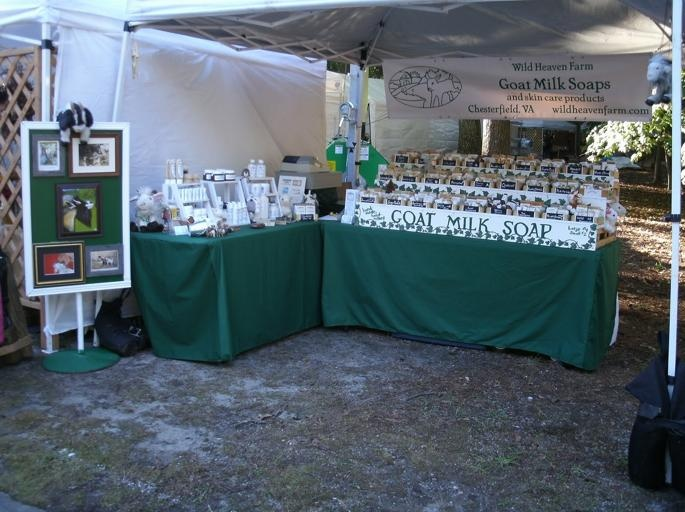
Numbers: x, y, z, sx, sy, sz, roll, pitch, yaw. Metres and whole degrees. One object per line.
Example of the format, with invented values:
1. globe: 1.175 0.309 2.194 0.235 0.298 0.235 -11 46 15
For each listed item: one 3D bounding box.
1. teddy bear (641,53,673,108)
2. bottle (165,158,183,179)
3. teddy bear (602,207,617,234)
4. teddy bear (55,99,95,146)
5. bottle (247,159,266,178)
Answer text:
1. teddy bear: 1.912 -1.063 3.015 0.143 0.304 0.325 9 16 29
2. bottle: -1.528 -0.784 4.563 0.150 0.159 0.172 -3 15 -18
3. teddy bear: 2.325 -0.295 4.357 0.096 0.219 0.361 9 16 28
4. teddy bear: -2.089 -1.020 3.870 0.268 0.312 0.234 4 13 31
5. bottle: -0.909 -0.899 5.228 0.183 0.176 0.244 -2 15 -13
